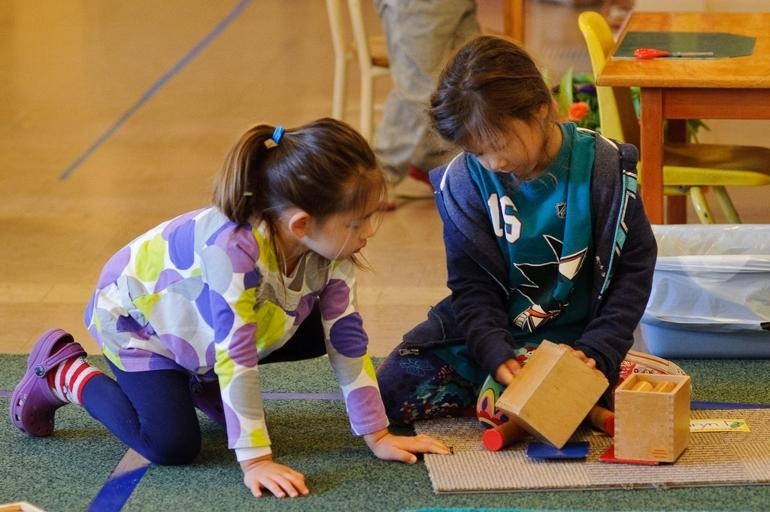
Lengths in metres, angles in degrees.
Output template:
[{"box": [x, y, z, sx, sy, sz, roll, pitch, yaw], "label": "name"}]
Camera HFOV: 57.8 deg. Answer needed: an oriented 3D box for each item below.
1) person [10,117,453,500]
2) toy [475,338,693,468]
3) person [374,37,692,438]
[{"box": [-0.407, 0.075, 1.769, 1.054, 0.792, 0.642, 4, 15, 19], "label": "person"}, {"box": [0.448, 0.350, 1.560, 0.357, 0.180, 0.280, 18, 37, 22], "label": "toy"}, {"box": [0.327, -0.046, 1.731, 0.682, 0.913, 0.673, -1, 12, 19], "label": "person"}]
